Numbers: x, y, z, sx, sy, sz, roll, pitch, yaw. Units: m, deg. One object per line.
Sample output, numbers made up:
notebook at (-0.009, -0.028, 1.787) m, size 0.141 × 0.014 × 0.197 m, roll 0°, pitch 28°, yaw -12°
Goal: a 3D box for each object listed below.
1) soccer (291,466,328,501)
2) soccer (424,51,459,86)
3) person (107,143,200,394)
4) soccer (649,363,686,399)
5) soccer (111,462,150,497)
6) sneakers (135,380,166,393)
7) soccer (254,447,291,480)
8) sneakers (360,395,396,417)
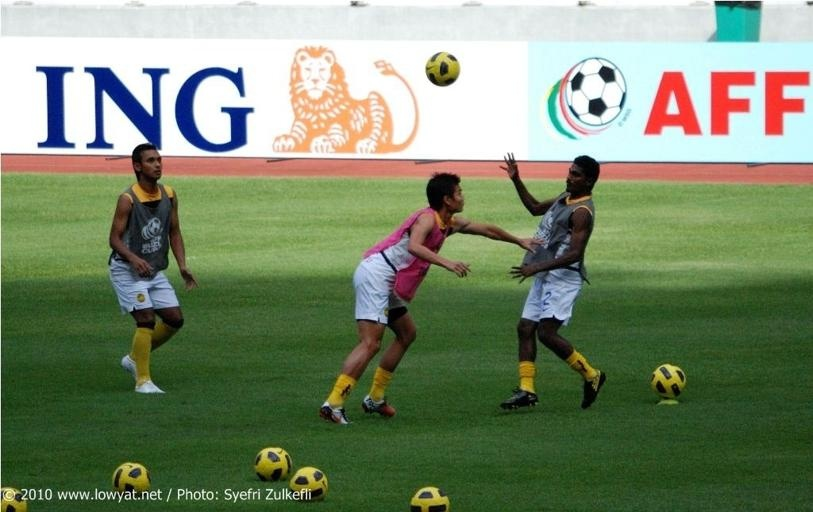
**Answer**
soccer at (-1.171, 2.825, 18.441) m, size 0.466 × 0.368 × 0.424 m, roll 20°, pitch -8°, yaw -24°
soccer at (0.593, -2.971, 23.774) m, size 0.493 × 0.539 × 0.561 m, roll 4°, pitch 14°, yaw 0°
person at (-3.545, 0.181, 20.936) m, size 0.949 × 3.463 × 0.874 m, roll 15°, pitch 19°, yaw 32°
soccer at (3.536, 1.760, 20.745) m, size 0.542 × 0.431 × 0.484 m, roll 18°, pitch 1°, yaw -3°
soccer at (-3.407, 2.773, 18.522) m, size 0.451 × 0.345 × 0.407 m, roll 2°, pitch 6°, yaw 18°
sneakers at (-3.565, 1.851, 20.972) m, size 0.347 × 0.108 × 0.198 m, roll -1°, pitch -1°, yaw 28°
soccer at (-1.639, 2.632, 18.741) m, size 0.450 × 0.391 × 0.214 m, roll 3°, pitch 15°, yaw -4°
sneakers at (-0.370, 2.063, 20.263) m, size 0.524 × 0.226 × 0.221 m, roll 11°, pitch 12°, yaw -6°
